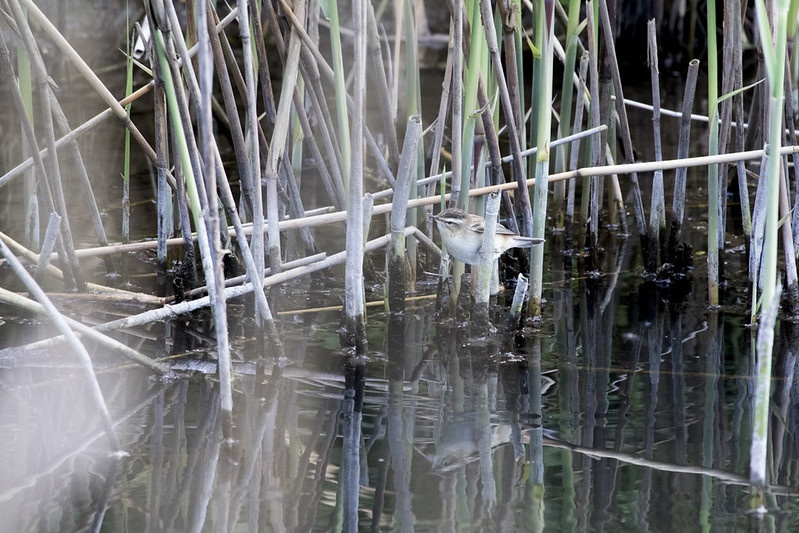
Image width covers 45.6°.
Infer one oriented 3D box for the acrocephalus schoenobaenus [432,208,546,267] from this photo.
[{"bbox_3d":[0.494,-0.182,5.377,0.702,0.334,0.244,-6,1,-16],"label":"acrocephalus schoenobaenus"}]
